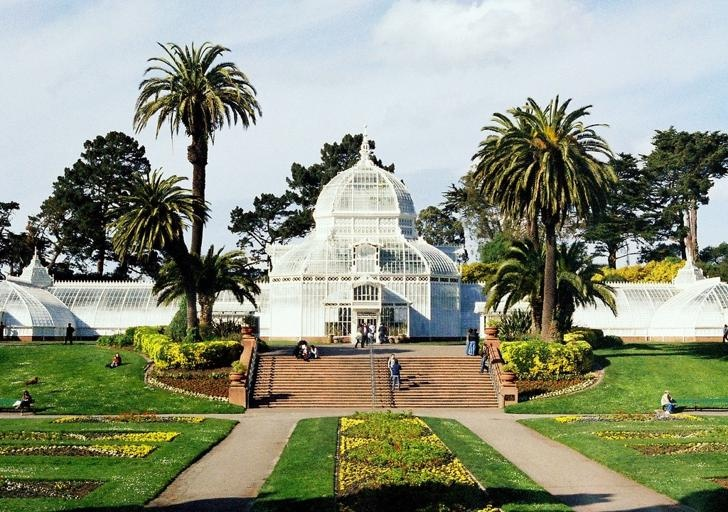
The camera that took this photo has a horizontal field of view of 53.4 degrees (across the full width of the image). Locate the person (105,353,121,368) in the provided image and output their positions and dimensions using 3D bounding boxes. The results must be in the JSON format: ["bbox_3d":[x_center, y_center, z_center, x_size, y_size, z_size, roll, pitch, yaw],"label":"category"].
[{"bbox_3d":[-17.603,7.517,50.799,0.756,1.256,1.188,1,-17,8],"label":"person"}]

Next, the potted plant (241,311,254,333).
[{"bbox_3d":[-8.475,4.916,52.870,1.160,1.728,1.324,-3,-5,27],"label":"potted plant"}]

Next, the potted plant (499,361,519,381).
[{"bbox_3d":[9.111,7.324,45.361,1.139,1.354,0.987,2,-7,-16],"label":"potted plant"}]

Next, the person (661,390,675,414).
[{"bbox_3d":[16.839,8.107,39.863,0.660,1.095,1.399,1,1,24],"label":"person"}]

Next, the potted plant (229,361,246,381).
[{"bbox_3d":[-7.741,7.040,44.121,1.014,1.316,1.027,-5,-15,24],"label":"potted plant"}]

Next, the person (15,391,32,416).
[{"bbox_3d":[-19.216,8.293,40.836,0.869,1.091,0.832,0,1,-25],"label":"person"}]

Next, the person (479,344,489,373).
[{"bbox_3d":[8.008,6.769,47.676,0.503,1.762,1.538,1,1,9],"label":"person"}]

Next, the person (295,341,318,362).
[{"bbox_3d":[-3.858,6.641,49.548,1.177,1.518,0.688,5,-3,1],"label":"person"}]
